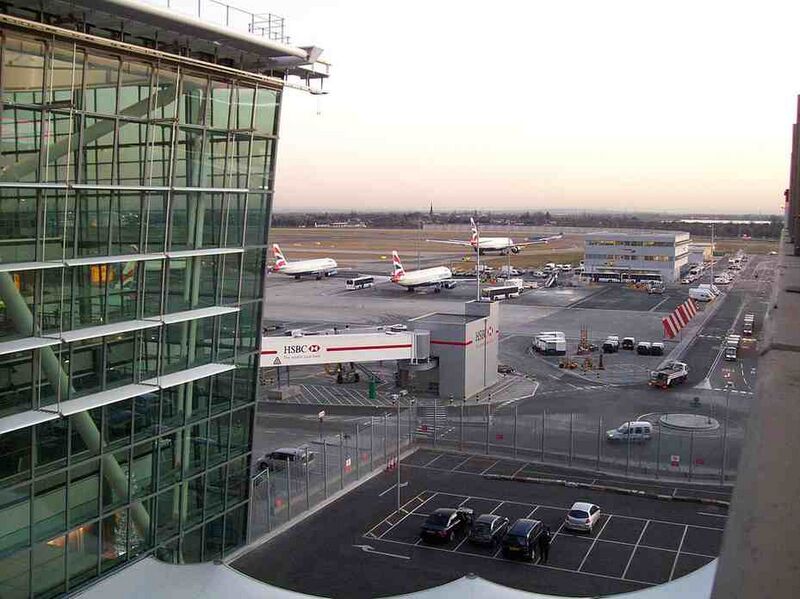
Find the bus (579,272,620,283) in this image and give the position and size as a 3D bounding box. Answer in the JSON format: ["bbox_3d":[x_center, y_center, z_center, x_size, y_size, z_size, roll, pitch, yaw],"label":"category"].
[{"bbox_3d":[40.570,-4.551,160.412,8.956,1.331,6.315,5,10,33],"label":"bus"}]

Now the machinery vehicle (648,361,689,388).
[{"bbox_3d":[23.918,6.842,70.038,3.976,1.334,2.170,-6,10,-40],"label":"machinery vehicle"}]

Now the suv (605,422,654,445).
[{"bbox_3d":[15.740,9.239,54.013,2.956,0.863,1.540,1,2,6],"label":"suv"}]

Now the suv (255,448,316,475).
[{"bbox_3d":[-7.521,10.291,49.666,3.545,1.499,1.579,3,11,23],"label":"suv"}]

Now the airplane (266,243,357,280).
[{"bbox_3d":[-20.003,-8.092,162.630,12.188,7.446,16.560,-2,9,-4],"label":"airplane"}]

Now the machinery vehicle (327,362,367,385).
[{"bbox_3d":[-5.748,7.061,73.632,3.409,0.805,2.139,2,6,26],"label":"machinery vehicle"}]

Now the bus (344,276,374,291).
[{"bbox_3d":[-7.384,-3.010,142.475,2.167,1.503,6.627,-2,2,15],"label":"bus"}]

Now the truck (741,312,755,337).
[{"bbox_3d":[43.362,3.270,98.033,1.119,0.949,2.914,8,38,22],"label":"truck"}]
